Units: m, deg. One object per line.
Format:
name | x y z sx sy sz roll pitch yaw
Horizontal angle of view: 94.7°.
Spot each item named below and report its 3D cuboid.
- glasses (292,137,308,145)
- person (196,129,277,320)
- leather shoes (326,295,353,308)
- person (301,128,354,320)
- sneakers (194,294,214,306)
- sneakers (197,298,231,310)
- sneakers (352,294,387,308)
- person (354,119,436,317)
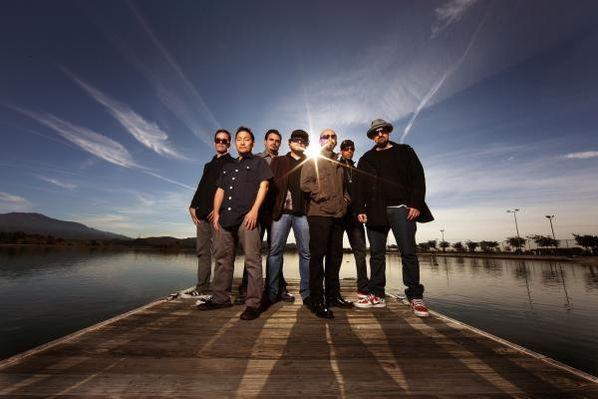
glasses | 0.016 -1.242 5.666 0.218 0.063 0.199 10 -46 -4
person | -1.147 0.295 5.289 1.314 3.514 0.996 2 3 29
leather shoes | 0.799 2.001 5.445 0.583 0.204 0.199 -4 -16 14
person | 0.547 0.345 5.405 0.897 3.628 1.366 1 3 24
sneakers | -1.936 1.938 5.370 0.526 0.181 0.178 3 -9 -12
sneakers | -1.597 1.972 5.320 0.650 0.237 0.223 6 -13 -9
sneakers | 1.396 1.982 5.468 0.641 0.223 0.235 2 -14 -3
person | 1.851 0.222 5.523 1.487 3.823 1.026 1 3 23
